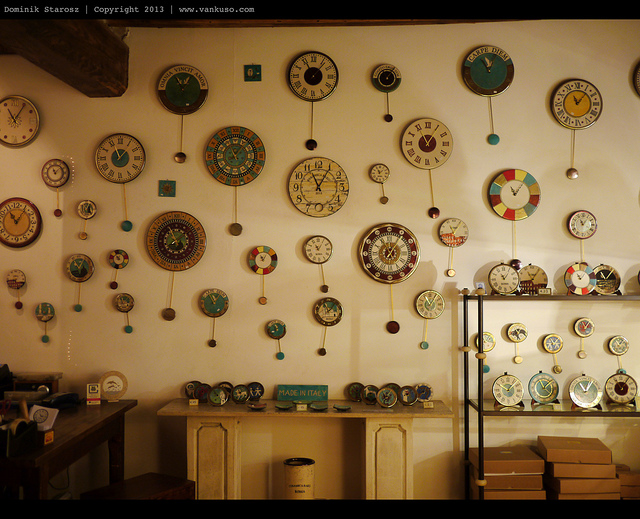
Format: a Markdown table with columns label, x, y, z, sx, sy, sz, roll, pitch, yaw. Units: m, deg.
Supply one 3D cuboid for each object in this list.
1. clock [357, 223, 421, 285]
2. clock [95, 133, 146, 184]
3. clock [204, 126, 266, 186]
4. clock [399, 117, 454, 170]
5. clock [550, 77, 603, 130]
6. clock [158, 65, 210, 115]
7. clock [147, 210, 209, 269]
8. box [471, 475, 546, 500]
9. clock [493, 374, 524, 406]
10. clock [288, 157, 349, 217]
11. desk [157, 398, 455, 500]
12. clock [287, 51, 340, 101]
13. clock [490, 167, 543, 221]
| label | x | y | z | sx | sy | sz | roll | pitch | yaw |
| --- | --- | --- | --- | --- | --- | --- | --- | --- | --- |
| clock | 0.496 | -0.042 | 5.097 | 0.458 | 0.432 | 0.043 | -1 | 1 | -16 |
| clock | -1.465 | -0.735 | 5.140 | 0.383 | 0.376 | 0.041 | 0 | -4 | 2 |
| clock | -0.611 | -0.747 | 5.120 | 0.457 | 0.434 | 0.046 | 0 | 2 | 0 |
| clock | 0.792 | -0.839 | 5.107 | 0.398 | 0.367 | 0.052 | 0 | 2 | 1 |
| clock | 1.872 | -1.147 | 5.106 | 0.398 | 0.378 | 0.045 | 0 | -2 | -1 |
| clock | -1.015 | -1.239 | 5.026 | 0.366 | 0.348 | 0.086 | -2 | 0 | 1 |
| clock | -1.044 | -0.124 | 5.112 | 0.429 | 0.406 | 0.032 | 1 | -4 | -1 |
| box | 1.269 | 1.548 | 4.739 | 0.494 | 0.133 | 0.148 | -3 | -14 | 16 |
| clock | 1.340 | 0.941 | 5.006 | 0.247 | 0.222 | 0.027 | 4 | -12 | -14 |
| clock | -0.020 | -0.504 | 5.106 | 0.453 | 0.430 | 0.062 | 0 | -3 | -3 |
| desk | -0.133 | 1.305 | 4.842 | 1.890 | 0.677 | 0.455 | 0 | -13 | 3 |
| clock | -0.049 | -1.343 | 5.109 | 0.377 | 0.347 | 0.050 | 0 | 3 | 3 |
| clock | 1.424 | -0.457 | 5.097 | 0.394 | 0.374 | 0.043 | 0 | -3 | -1 |
